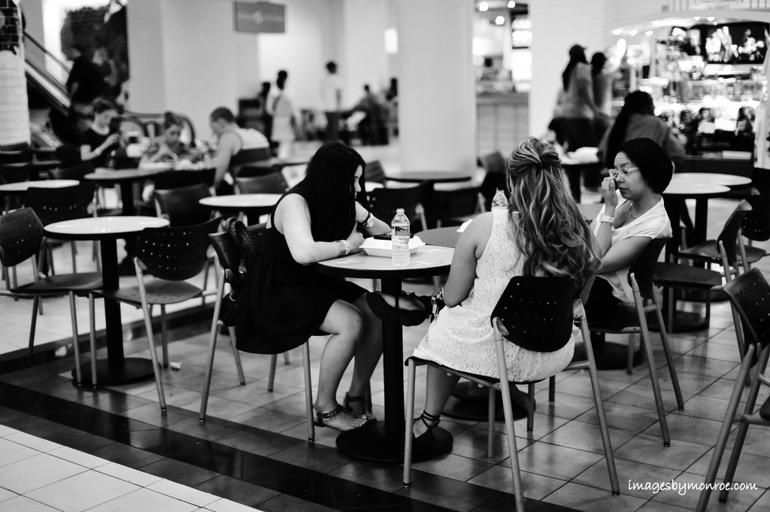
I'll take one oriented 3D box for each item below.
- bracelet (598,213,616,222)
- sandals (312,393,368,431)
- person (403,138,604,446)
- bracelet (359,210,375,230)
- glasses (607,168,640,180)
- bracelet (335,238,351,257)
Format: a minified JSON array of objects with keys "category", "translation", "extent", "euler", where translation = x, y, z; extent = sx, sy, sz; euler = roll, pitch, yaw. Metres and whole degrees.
[{"category":"bracelet","translation":[1.370,-0.242,4.454],"extent":[0.062,0.063,0.064],"euler":[2,5,27]},{"category":"sandals","translation":[-0.267,0.968,4.471],"extent":[0.311,0.118,0.179],"euler":[-1,5,-8]},{"category":"person","translation":[0.638,0.252,3.923],"extent":[1.018,1.744,0.456],"euler":[1,13,16]},{"category":"bracelet","translation":[-0.099,-0.237,4.745],"extent":[0.060,0.101,0.080],"euler":[20,6,-33]},{"category":"glasses","translation":[1.556,-0.552,4.765],"extent":[0.151,0.048,0.144],"euler":[2,-1,-30]},{"category":"bracelet","translation":[-0.235,-0.050,4.267],"extent":[0.078,0.083,0.087],"euler":[5,4,29]}]
